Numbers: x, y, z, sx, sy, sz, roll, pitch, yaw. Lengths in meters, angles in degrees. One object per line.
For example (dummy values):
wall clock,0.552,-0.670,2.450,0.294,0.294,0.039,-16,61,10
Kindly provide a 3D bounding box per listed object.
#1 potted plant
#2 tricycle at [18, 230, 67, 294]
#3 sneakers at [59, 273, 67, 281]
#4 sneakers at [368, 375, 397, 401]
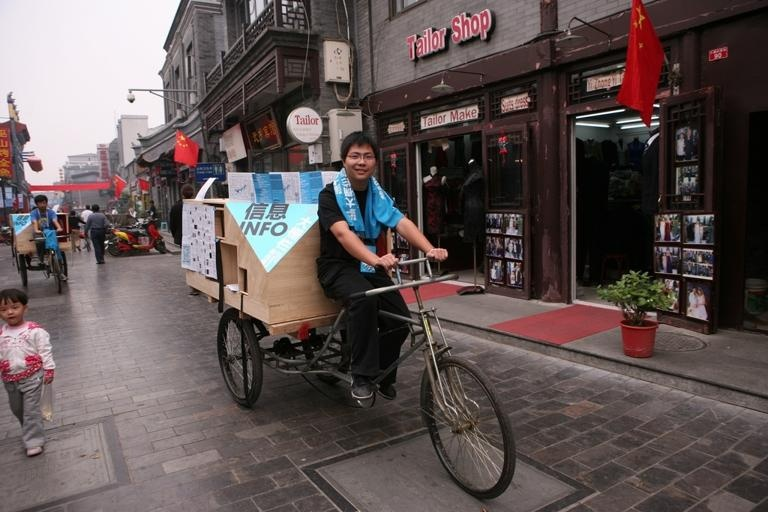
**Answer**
potted plant,3.199,0.781,6.175,0.778,0.978,0.919,-9,10,-26
tricycle,-8.406,0.159,12.279,1.173,1.359,2.207,-7,11,-42
sneakers,-8.451,0.558,13.041,0.211,0.260,0.615,-2,0,-35
sneakers,-0.053,1.232,4.637,0.157,0.162,0.386,-3,1,-35
